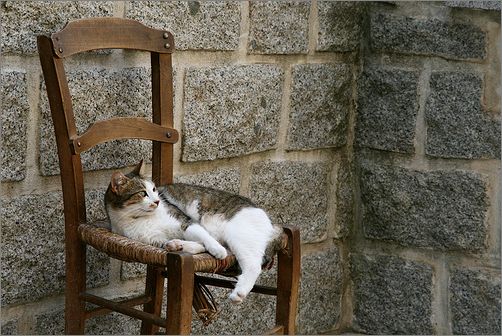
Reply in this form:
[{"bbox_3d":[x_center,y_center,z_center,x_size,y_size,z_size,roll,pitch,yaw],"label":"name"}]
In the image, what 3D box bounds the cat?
[{"bbox_3d":[-0.225,0.195,2.297,0.540,0.263,0.436,21,2,-12],"label":"cat"}]
